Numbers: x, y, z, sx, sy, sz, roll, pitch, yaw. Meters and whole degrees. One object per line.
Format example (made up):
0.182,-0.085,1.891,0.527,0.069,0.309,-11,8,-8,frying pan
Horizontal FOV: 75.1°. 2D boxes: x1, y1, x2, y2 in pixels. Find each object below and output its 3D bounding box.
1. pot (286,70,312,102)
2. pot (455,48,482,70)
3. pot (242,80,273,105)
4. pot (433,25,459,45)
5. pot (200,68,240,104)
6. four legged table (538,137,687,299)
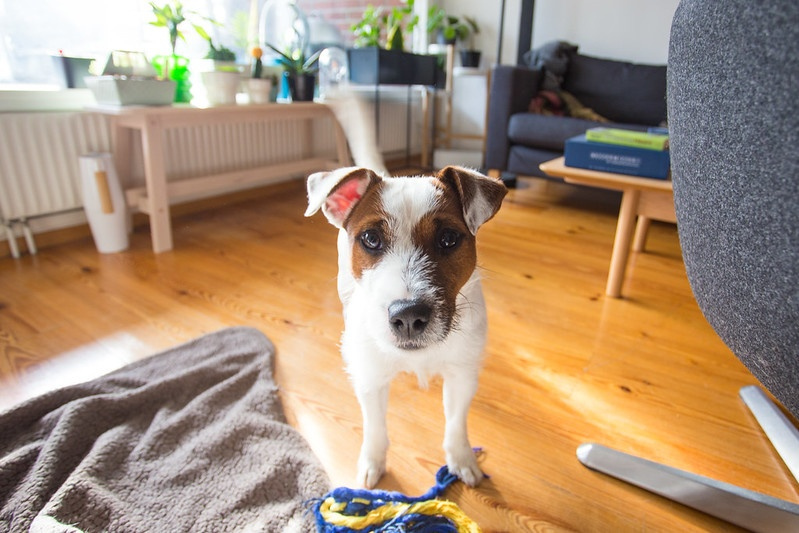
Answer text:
-0.633,-1.150,3.350,0.189,0.157,0.171,-2,11,-15,pot
0.636,-1.820,4.689,0.245,0.175,0.241,-1,2,0,pot
-0.820,-1.018,3.062,0.145,0.107,0.144,0,14,0,pot
0.398,-2.022,4.598,0.191,0.187,0.191,-1,7,0,pot
-0.984,-0.992,2.881,0.192,0.142,0.184,0,18,0,pot
1.108,-0.233,2.600,0.762,0.426,0.770,20,10,32,four legged table
